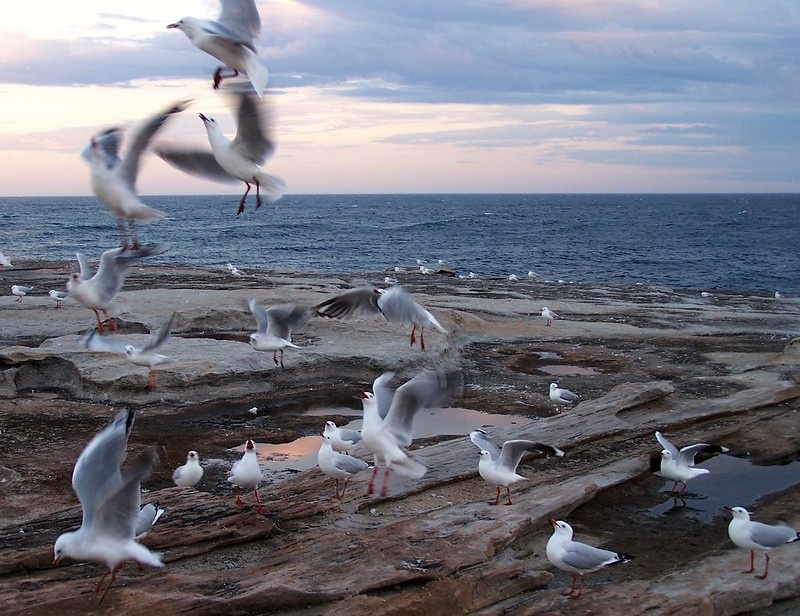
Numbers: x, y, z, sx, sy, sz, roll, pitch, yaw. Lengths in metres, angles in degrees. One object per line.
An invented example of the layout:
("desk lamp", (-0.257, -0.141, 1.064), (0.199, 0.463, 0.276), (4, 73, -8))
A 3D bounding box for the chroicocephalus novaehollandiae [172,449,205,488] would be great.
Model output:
("chroicocephalus novaehollandiae", (-2.719, 2.069, 9.197), (0.321, 0.532, 0.463), (-3, 16, -19))

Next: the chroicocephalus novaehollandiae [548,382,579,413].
("chroicocephalus novaehollandiae", (3.144, 1.605, 13.614), (0.555, 0.446, 0.997), (6, 12, 14))
